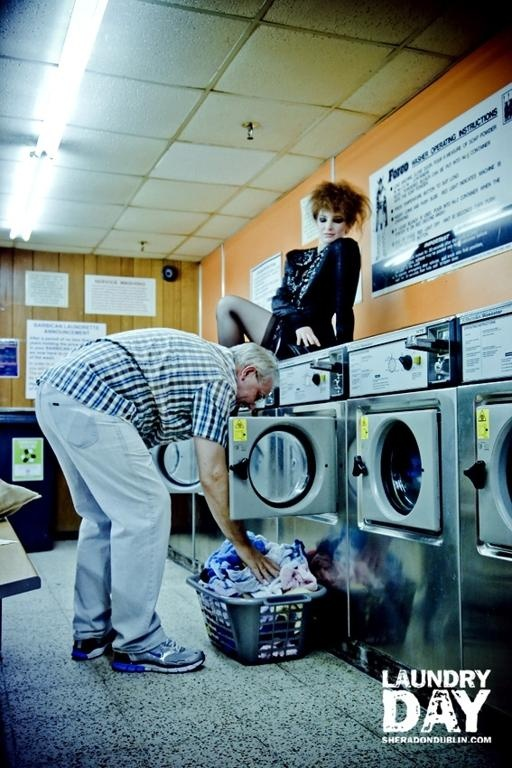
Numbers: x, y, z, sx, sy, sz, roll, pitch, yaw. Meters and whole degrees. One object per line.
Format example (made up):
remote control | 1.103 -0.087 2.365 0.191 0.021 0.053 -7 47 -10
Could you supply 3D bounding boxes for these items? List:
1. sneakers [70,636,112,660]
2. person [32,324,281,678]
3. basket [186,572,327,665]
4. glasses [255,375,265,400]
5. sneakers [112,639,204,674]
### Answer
sneakers | -0.578 0.918 2.029 0.054 0.073 0.154 -1 0 32
person | -0.293 0.363 2.470 1.144 1.528 0.754 0 -5 -18
basket | 0.000 0.842 2.082 0.407 0.228 0.514 5 -8 -32
glasses | 0.010 0.013 2.016 0.021 0.066 0.046 3 -3 -6
sneakers | -0.320 0.895 1.917 0.304 0.149 0.119 0 -9 -7
